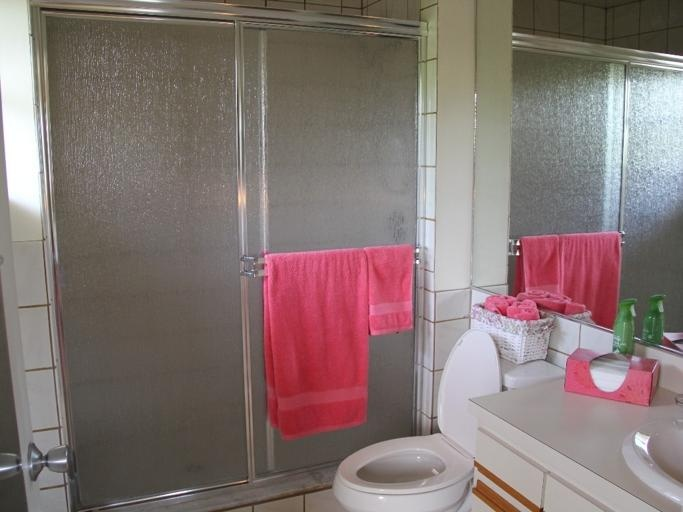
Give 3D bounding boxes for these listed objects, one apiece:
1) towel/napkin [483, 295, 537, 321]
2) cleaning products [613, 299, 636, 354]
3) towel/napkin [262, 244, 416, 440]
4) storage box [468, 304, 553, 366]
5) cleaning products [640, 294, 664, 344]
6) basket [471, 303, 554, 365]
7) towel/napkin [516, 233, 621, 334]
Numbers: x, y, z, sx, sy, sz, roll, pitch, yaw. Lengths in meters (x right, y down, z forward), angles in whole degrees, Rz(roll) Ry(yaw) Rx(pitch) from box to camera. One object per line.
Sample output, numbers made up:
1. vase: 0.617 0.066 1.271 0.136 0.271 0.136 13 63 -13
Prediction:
1. towel/napkin: 0.733 0.219 2.351 0.106 0.058 0.136 -2 13 -36
2. cleaning products: 1.033 0.251 1.995 0.069 0.180 0.158 4 13 31
3. towel/napkin: -0.039 0.355 2.464 0.774 0.965 0.179 -4 9 -24
4. storage box: 0.772 0.314 2.359 0.261 0.135 0.171 2 8 -45
5. cleaning products: 1.112 0.219 1.939 0.053 0.167 0.070 -11 13 -36
6. basket: 0.725 0.341 2.409 0.222 0.180 0.339 2 1 -35
7. towel/napkin: 0.948 0.117 2.253 0.079 0.413 0.354 -4 7 -33
